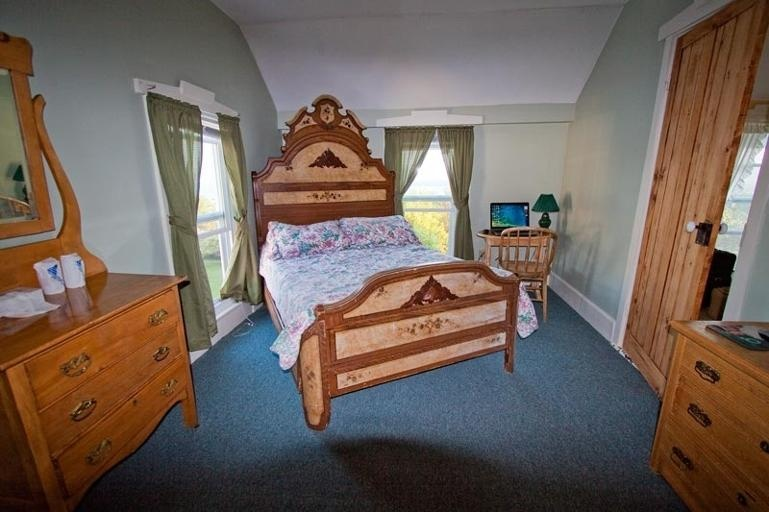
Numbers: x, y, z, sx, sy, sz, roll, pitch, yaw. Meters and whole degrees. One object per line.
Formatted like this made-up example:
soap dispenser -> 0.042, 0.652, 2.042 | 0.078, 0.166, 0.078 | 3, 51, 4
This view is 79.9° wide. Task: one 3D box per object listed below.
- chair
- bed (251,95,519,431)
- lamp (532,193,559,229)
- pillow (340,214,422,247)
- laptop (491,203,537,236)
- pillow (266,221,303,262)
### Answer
chair -> 1.523, 0.089, 5.093 | 0.656, 0.998, 0.695 | 8, 20, 22
bed -> -0.254, -0.225, 4.609 | 2.029, 2.331, 2.747 | -9, 17, -24
lamp -> 1.908, -0.534, 5.484 | 0.297, 0.446, 0.269 | 9, 23, 39
pillow -> -0.077, -0.257, 5.013 | 0.661, 0.165, 0.420 | -4, 39, -22
laptop -> 1.555, -0.507, 5.742 | 0.533, 0.369, 0.393 | 1, 8, 5
pillow -> -1.069, -0.132, 4.676 | 0.367, 0.389, 0.117 | -10, -27, 17
